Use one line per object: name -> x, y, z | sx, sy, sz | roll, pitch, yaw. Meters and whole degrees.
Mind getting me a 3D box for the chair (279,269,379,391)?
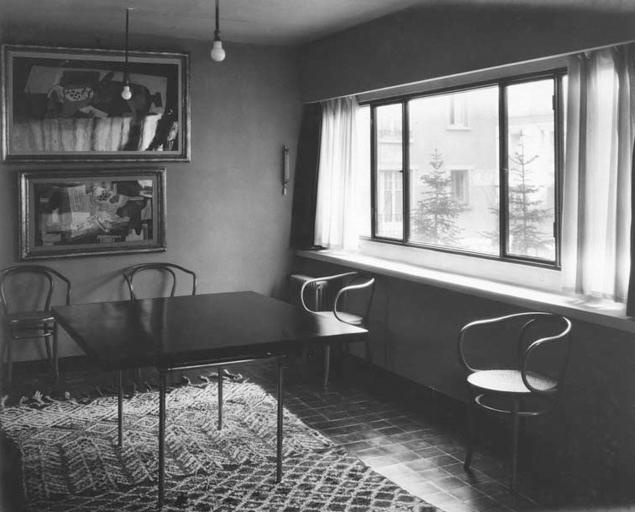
chair -> 0.135, 0.616, 5.365 | 0.842, 1.279, 0.938 | 1, 1, -30
